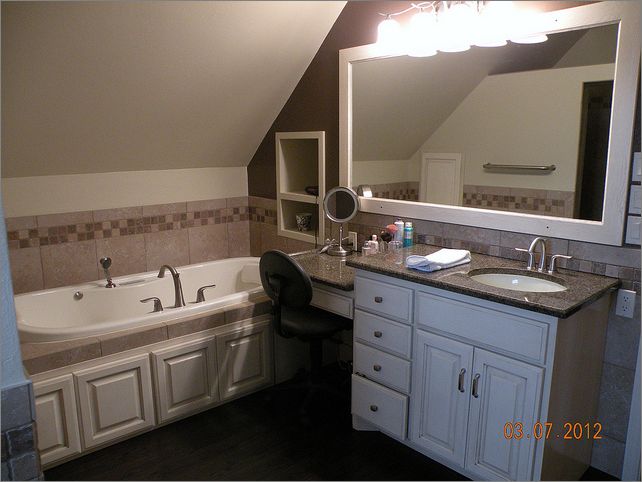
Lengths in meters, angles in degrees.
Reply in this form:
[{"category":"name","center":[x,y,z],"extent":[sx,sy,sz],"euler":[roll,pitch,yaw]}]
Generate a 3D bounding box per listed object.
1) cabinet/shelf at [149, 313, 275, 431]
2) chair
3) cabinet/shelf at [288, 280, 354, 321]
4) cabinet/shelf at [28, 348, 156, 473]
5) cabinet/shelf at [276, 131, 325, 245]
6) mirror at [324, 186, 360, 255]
[{"category":"cabinet/shelf","center":[-0.795,0.786,3.355],"extent":[0.846,0.565,0.446],"euler":[-11,19,-31]},{"category":"chair","center":[-0.050,0.568,3.188],"extent":[0.582,1.033,0.501],"euler":[-6,9,-32]},{"category":"cabinet/shelf","center":[0.074,0.362,2.998],"extent":[0.183,0.187,0.361],"euler":[-6,8,-36]},{"category":"cabinet/shelf","center":[-1.416,0.934,2.933],"extent":[0.720,0.628,0.395],"euler":[-8,20,-34]},{"category":"cabinet/shelf","center":[-0.177,-0.658,4.239],"extent":[0.280,0.567,0.313],"euler":[9,0,-24]},{"category":"mirror","center":[0.136,-0.154,3.378],"extent":[0.250,0.473,0.147],"euler":[2,20,4]}]
